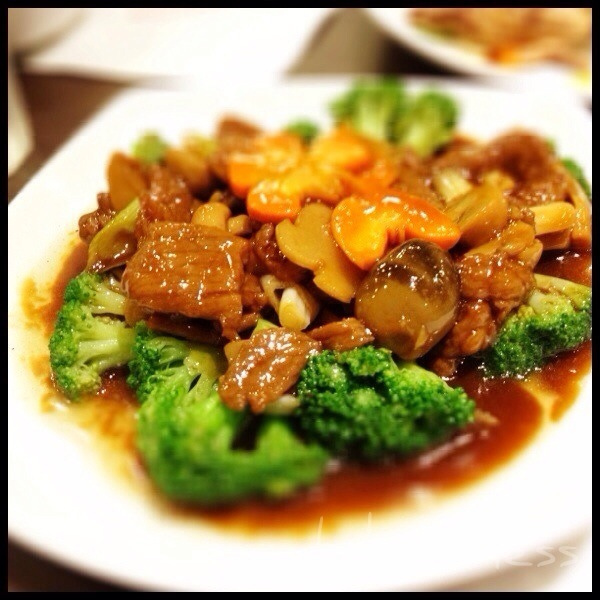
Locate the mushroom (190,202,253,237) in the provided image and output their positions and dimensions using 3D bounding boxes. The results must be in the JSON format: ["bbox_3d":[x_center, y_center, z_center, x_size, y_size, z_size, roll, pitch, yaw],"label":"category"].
[{"bbox_3d":[-0.393,-0.416,3.025,0.234,0.111,0.192,3,53,-2],"label":"mushroom"}]

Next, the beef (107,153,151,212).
[{"bbox_3d":[-0.932,-0.629,3.217,0.272,0.067,0.292,-19,79,-9],"label":"beef"}]

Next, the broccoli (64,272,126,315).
[{"bbox_3d":[-1.023,-0.020,2.996,0.283,0.136,0.188,29,61,-9],"label":"broccoli"}]

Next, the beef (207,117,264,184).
[{"bbox_3d":[-0.395,-0.883,3.371,0.353,0.094,0.377,-19,45,17],"label":"beef"}]

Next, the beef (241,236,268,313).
[{"bbox_3d":[-0.226,-0.129,2.905,0.077,0.174,0.314,-4,83,19],"label":"beef"}]

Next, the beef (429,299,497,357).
[{"bbox_3d":[0.742,0.132,2.729,0.266,0.104,0.218,-24,68,13],"label":"beef"}]

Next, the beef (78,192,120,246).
[{"bbox_3d":[-1.104,-0.405,3.247,0.268,0.204,0.103,-31,92,27],"label":"beef"}]

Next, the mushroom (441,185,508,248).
[{"bbox_3d":[0.882,-0.420,3.000,0.288,0.079,0.326,-33,53,5],"label":"mushroom"}]

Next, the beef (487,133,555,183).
[{"bbox_3d":[1.234,-0.802,3.456,0.349,0.430,0.141,1,80,5],"label":"beef"}]

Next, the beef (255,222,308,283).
[{"bbox_3d":[-0.124,-0.211,2.883,0.084,0.263,0.253,-22,32,-39],"label":"beef"}]
